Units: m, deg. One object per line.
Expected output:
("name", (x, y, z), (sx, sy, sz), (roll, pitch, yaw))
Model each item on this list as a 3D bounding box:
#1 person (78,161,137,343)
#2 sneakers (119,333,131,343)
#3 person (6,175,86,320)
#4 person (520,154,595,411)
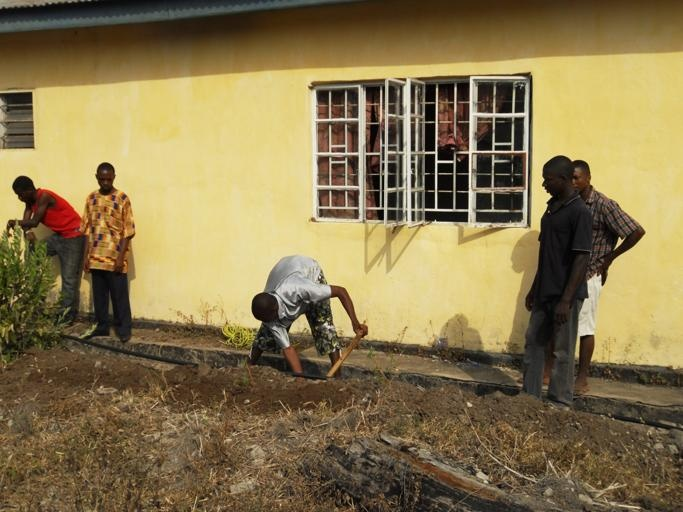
("person", (-2.999, -0.045, 8.909), (0.634, 2.252, 0.439), (0, 4, -18))
("sneakers", (-2.775, 1.065, 8.883), (0.069, 0.077, 0.173), (-29, -28, 3))
("person", (-3.819, -0.098, 9.119), (0.833, 1.846, 0.761), (0, 5, -24))
("person", (2.097, 0.255, 6.768), (0.565, 2.415, 0.340), (3, 4, 19))
